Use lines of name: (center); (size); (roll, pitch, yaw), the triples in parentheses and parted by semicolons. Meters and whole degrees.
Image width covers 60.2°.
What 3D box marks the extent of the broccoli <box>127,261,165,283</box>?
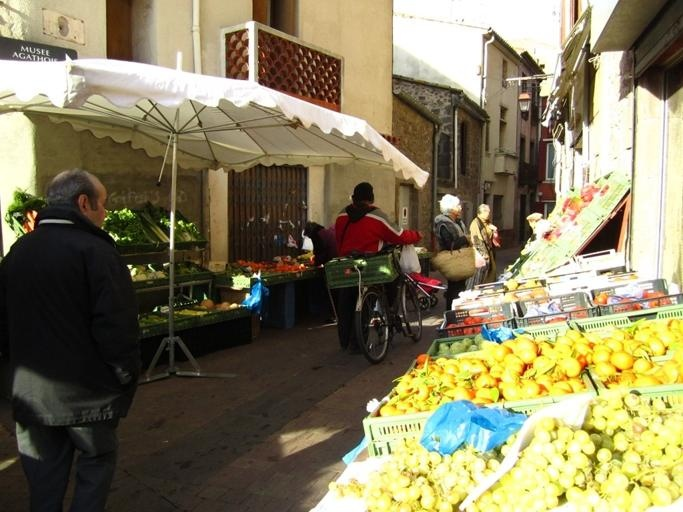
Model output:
broccoli: (-2.605, 0.218, 7.839); (0.490, 0.149, 0.521); (-4, 18, -33)

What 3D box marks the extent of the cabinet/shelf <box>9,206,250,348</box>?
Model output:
cabinet/shelf: (-3.067, 0.182, 8.730); (1.224, 1.885, 3.217); (11, 10, 37)

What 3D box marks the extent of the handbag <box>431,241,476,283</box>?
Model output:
handbag: (1.733, 0.071, 9.015); (0.585, 0.680, 0.294); (-18, -11, -6)

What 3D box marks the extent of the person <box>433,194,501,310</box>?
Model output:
person: (1.892, -0.117, 9.297); (1.018, 2.368, 0.619); (1, 1, 31)

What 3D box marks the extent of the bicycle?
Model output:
bicycle: (0.569, 0.603, 7.772); (0.543, 1.220, 1.967); (1, 3, 17)

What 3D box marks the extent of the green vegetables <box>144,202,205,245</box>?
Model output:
green vegetables: (-2.446, -0.436, 8.569); (0.671, 0.168, 0.699); (17, 30, -50)

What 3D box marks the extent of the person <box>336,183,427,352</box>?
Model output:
person: (0.370, 0.006, 7.969); (0.986, 2.202, 1.082); (2, 17, -46)
